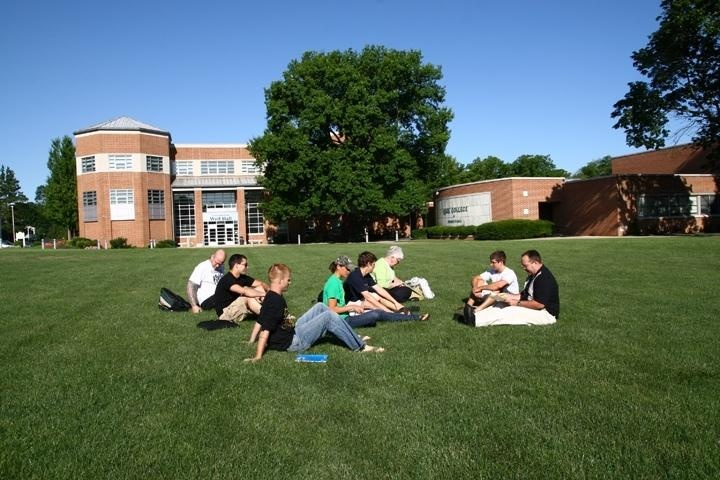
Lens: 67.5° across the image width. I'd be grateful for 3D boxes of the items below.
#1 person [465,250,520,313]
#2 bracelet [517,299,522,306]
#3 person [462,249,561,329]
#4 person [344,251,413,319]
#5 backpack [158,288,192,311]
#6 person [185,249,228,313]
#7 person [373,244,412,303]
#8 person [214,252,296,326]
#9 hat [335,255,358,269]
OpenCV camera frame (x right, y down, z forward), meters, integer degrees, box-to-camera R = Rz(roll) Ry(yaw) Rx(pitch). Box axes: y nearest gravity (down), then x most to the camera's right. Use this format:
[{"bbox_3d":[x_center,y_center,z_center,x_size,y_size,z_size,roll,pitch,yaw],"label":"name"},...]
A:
[{"bbox_3d":[3.075,0.997,12.801,1.462,1.473,0.912,-7,14,-13],"label":"person"},{"bbox_3d":[3.519,1.385,11.946,0.078,0.118,0.028,-7,-15,38],"label":"bracelet"},{"bbox_3d":[3.440,1.045,11.775,1.790,1.593,0.524,0,13,2],"label":"person"},{"bbox_3d":[0.413,1.061,12.348,1.535,1.561,0.946,6,3,10],"label":"person"},{"bbox_3d":[-4.752,1.562,13.787,0.685,0.289,0.504,20,2,10],"label":"backpack"},{"bbox_3d":[-3.731,0.999,13.803,1.136,1.577,1.095,-1,13,-45],"label":"person"},{"bbox_3d":[0.947,0.847,14.010,1.155,1.352,1.145,-5,15,-38],"label":"person"},{"bbox_3d":[-2.578,1.137,12.599,1.508,1.587,1.048,6,7,0],"label":"person"},{"bbox_3d":[-0.334,0.504,11.581,0.475,0.268,0.323,24,2,3],"label":"hat"}]
